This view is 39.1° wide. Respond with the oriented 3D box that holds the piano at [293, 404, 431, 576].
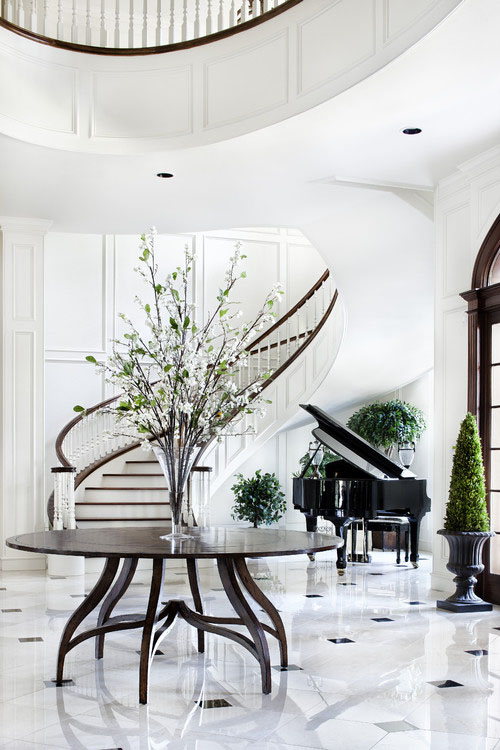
[{"bbox_3d":[1.063,1.136,6.962,1.132,1.403,1.087,2,-7,-13],"label":"piano"}]
